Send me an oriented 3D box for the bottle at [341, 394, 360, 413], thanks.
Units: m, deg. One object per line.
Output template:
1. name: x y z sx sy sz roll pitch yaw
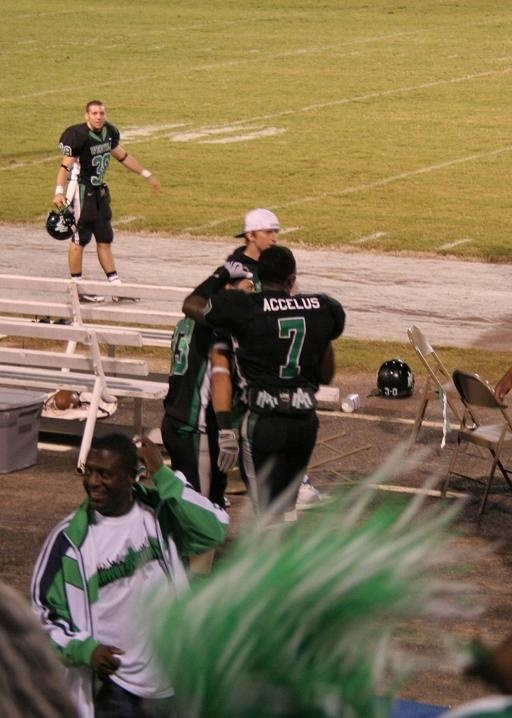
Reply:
1. bottle: 0.840 0.416 7.570 0.184 0.150 0.229 1 8 19

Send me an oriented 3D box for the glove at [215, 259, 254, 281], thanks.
1. glove: -0.110 -0.425 3.967 0.119 0.048 0.117 37 67 20

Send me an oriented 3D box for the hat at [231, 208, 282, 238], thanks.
1. hat: 0.007 -0.704 4.289 0.239 0.101 0.151 -1 10 -9

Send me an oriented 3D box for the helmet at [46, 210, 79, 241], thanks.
1. helmet: -2.315 -1.633 9.985 0.373 0.399 0.290 -12 -6 8

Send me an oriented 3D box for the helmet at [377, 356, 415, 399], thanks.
1. helmet: 1.400 0.234 8.361 0.295 0.236 0.483 2 12 9

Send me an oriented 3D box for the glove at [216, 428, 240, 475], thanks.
1. glove: -0.120 0.413 3.782 0.113 0.180 0.075 -1 8 -18
